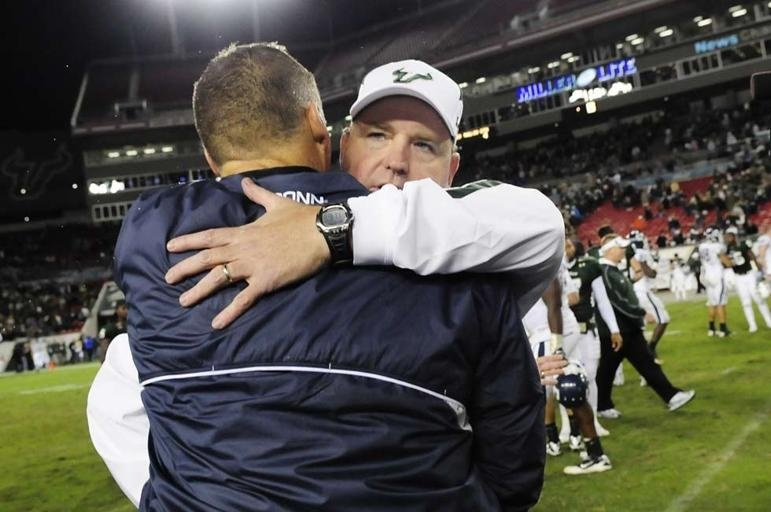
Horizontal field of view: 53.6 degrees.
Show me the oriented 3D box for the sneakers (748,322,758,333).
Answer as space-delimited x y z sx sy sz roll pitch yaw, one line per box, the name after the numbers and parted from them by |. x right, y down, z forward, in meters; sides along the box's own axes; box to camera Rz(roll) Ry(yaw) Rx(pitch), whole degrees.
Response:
9.507 1.863 19.793 0.250 0.268 0.157 -7 -12 32 | sneakers

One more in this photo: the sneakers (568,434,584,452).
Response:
4.055 3.974 16.255 0.184 0.209 0.433 1 3 10 | sneakers

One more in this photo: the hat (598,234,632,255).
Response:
5.079 -0.228 17.137 0.584 0.234 0.402 -20 0 31 | hat

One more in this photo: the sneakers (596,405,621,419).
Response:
4.989 3.472 17.070 0.421 0.184 0.236 -4 6 4 | sneakers

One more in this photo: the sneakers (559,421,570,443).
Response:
3.860 3.800 16.592 0.159 0.545 0.218 10 9 40 | sneakers
